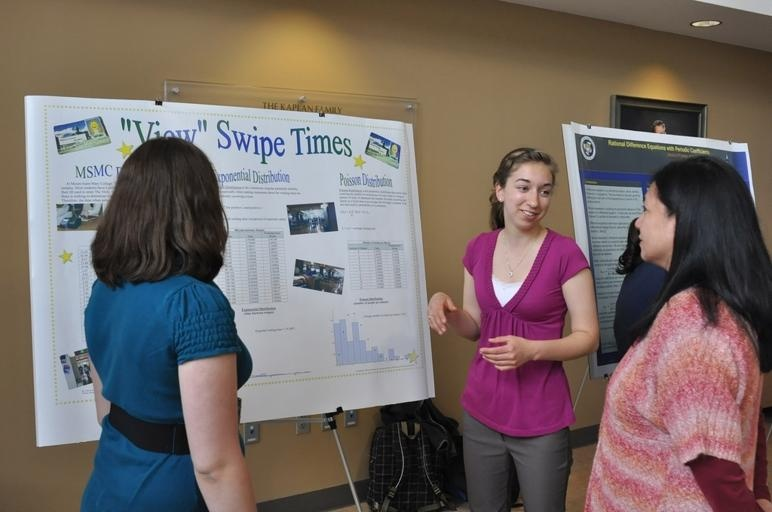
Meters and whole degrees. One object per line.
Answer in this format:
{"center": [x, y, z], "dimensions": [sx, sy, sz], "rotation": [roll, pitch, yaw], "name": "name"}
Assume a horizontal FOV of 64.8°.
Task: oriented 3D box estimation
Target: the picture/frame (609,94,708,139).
{"center": [2.148, -1.095, 4.783], "dimensions": [0.900, 0.312, 0.155], "rotation": [-4, 7, -24], "name": "picture/frame"}

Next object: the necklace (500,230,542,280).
{"center": [0.594, 0.007, 2.748], "dimensions": [0.135, 0.241, 0.055], "rotation": [4, -8, 34], "name": "necklace"}
